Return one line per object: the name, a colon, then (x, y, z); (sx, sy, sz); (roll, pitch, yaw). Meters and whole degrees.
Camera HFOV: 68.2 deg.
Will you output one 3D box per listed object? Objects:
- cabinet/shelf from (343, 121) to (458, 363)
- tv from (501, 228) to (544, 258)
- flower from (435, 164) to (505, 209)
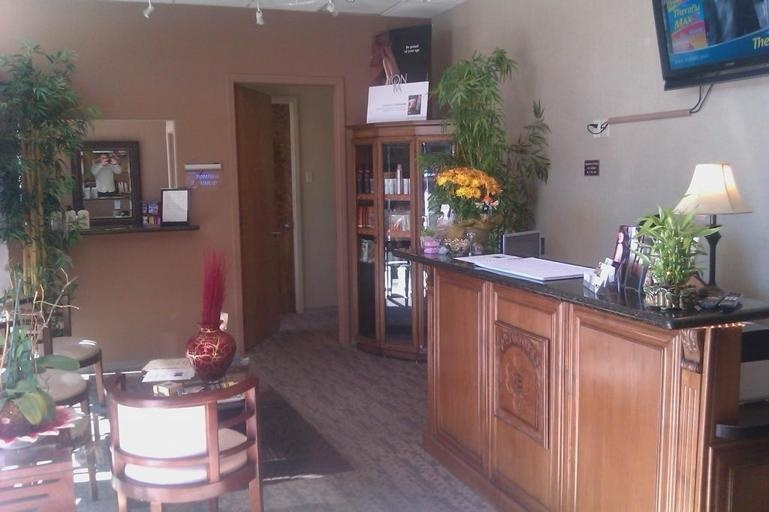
cabinet/shelf: (0.070, -0.186, 6.431); (1.147, 2.584, 0.474); (7, 14, 34)
tv: (1.075, -0.082, 4.331); (0.457, 0.198, 0.121); (-11, 15, -41)
flower: (0.680, -0.535, 4.561); (0.360, 0.263, 0.406); (7, 5, -2)
